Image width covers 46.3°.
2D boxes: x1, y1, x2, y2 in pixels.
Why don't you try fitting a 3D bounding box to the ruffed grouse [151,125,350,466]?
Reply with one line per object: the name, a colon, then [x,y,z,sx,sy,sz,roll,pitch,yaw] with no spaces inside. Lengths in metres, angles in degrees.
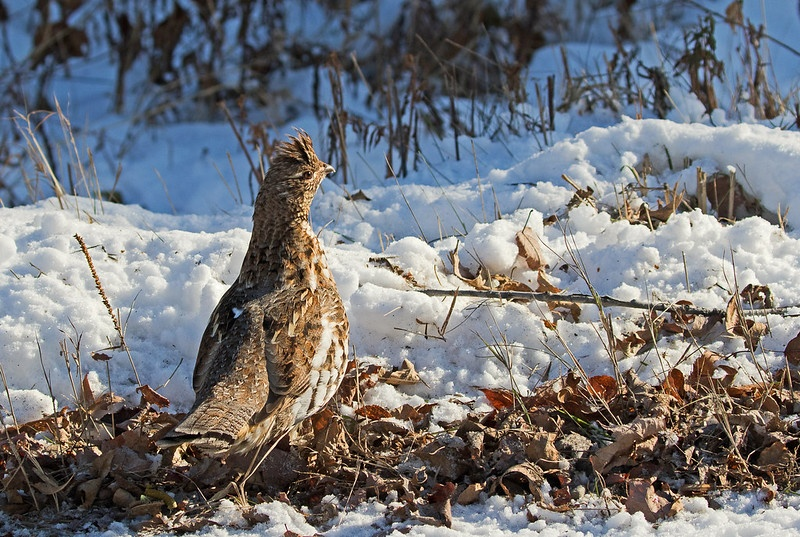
ruffed grouse: [-0.933,0.132,6.657,1.250,2.333,0.912,1,2,-25]
